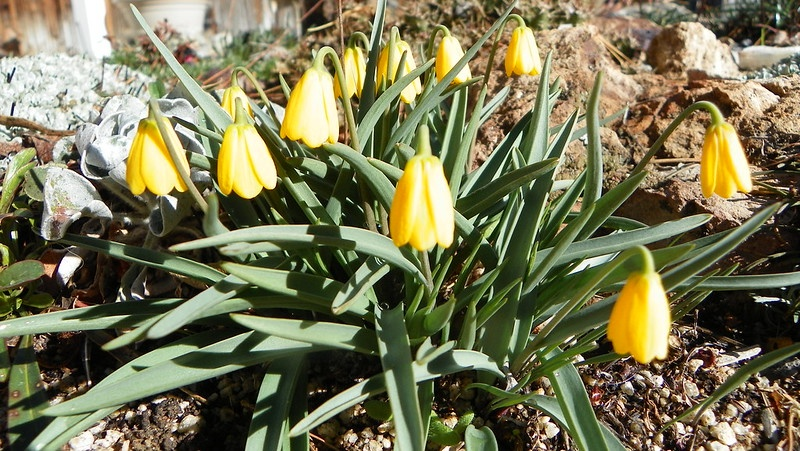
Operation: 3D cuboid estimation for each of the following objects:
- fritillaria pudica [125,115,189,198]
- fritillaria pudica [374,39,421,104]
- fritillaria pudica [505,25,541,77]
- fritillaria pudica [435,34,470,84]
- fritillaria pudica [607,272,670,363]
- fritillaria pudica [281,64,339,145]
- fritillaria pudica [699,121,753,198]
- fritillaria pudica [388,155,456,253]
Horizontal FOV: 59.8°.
[{"bbox_3d":[-1.170,-0.330,3.265,0.243,0.311,0.294,6,24,18],"label":"fritillaria pudica"},{"bbox_3d":[-0.014,-0.811,3.576,0.231,0.403,0.368,-2,16,0],"label":"fritillaria pudica"},{"bbox_3d":[0.640,-0.883,3.605,0.158,0.227,0.164,-1,5,-5],"label":"fritillaria pudica"},{"bbox_3d":[0.261,-0.834,3.513,0.174,0.248,0.222,-2,16,3],"label":"fritillaria pudica"},{"bbox_3d":[1.033,0.391,2.995,0.251,0.378,0.134,0,16,10],"label":"fritillaria pudica"},{"bbox_3d":[-0.416,-0.580,3.292,0.267,0.351,0.274,19,21,-1],"label":"fritillaria pudica"},{"bbox_3d":[1.514,-0.301,3.208,0.219,0.341,0.083,3,17,19],"label":"fritillaria pudica"},{"bbox_3d":[0.092,-0.096,3.121,0.292,0.424,0.271,-6,15,-18],"label":"fritillaria pudica"}]
